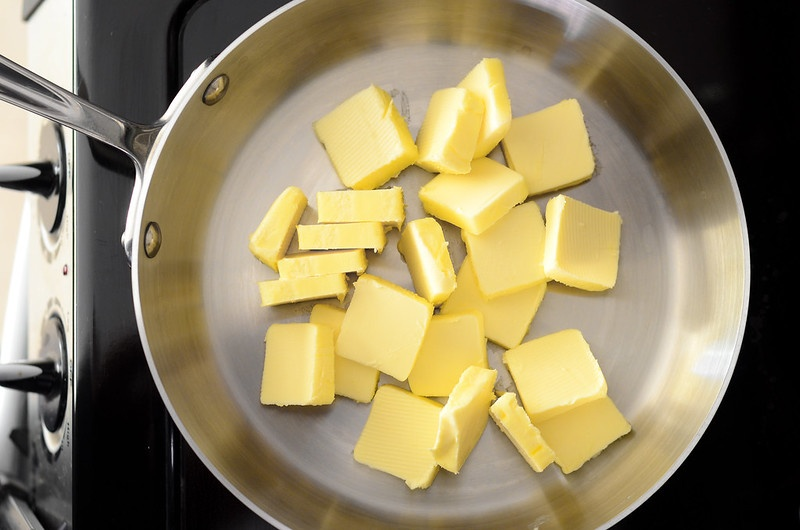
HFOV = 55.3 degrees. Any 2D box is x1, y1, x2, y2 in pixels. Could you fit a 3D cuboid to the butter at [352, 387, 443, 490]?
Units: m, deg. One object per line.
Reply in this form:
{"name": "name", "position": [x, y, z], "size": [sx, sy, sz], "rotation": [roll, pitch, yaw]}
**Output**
{"name": "butter", "position": [0.004, 0.406, 1.697], "size": [0.189, 0.057, 0.237], "rotation": [16, 87, 6]}

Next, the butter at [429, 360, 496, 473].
{"name": "butter", "position": [0.137, 0.391, 1.842], "size": [0.091, 0.270, 0.109], "rotation": [5, 101, 17]}

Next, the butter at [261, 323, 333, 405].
{"name": "butter", "position": [-0.261, 0.226, 1.757], "size": [0.169, 0.044, 0.195], "rotation": [0, 87, 15]}
